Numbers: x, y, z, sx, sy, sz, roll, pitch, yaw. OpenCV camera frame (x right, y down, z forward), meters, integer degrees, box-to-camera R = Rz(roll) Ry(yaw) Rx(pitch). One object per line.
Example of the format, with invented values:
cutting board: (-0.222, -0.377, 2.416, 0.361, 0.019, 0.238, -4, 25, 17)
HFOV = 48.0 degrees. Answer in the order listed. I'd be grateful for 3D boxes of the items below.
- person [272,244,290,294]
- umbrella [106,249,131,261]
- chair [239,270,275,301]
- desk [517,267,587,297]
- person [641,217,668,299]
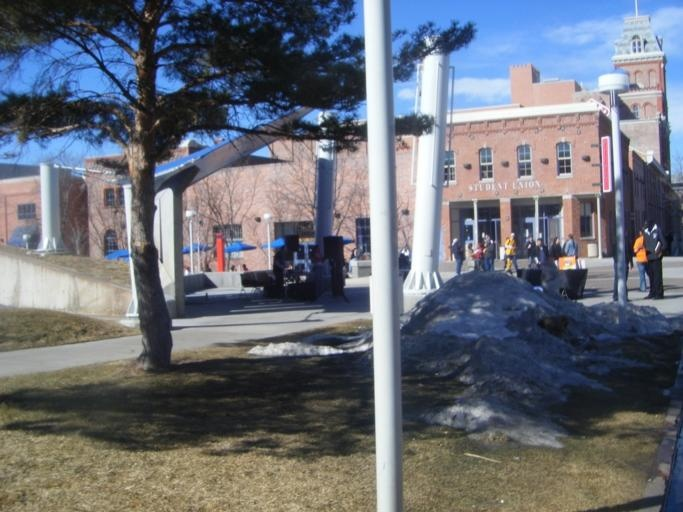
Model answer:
person: (-1.893, 0.230, 25.392, 0.318, 1.622, 0.565, -16, -36, 11)
umbrella: (-10.823, -0.046, 37.494, 1.018, 0.473, 1.063, 2, -3, -27)
chair: (-2.726, 0.949, 25.573, 1.023, 0.853, 1.546, -4, 7, -21)
desk: (5.674, 0.644, 20.184, 1.172, 0.709, 1.253, 1, 2, 30)
person: (7.941, 0.098, 19.477, 0.506, 1.879, 1.124, 1, 7, 22)
